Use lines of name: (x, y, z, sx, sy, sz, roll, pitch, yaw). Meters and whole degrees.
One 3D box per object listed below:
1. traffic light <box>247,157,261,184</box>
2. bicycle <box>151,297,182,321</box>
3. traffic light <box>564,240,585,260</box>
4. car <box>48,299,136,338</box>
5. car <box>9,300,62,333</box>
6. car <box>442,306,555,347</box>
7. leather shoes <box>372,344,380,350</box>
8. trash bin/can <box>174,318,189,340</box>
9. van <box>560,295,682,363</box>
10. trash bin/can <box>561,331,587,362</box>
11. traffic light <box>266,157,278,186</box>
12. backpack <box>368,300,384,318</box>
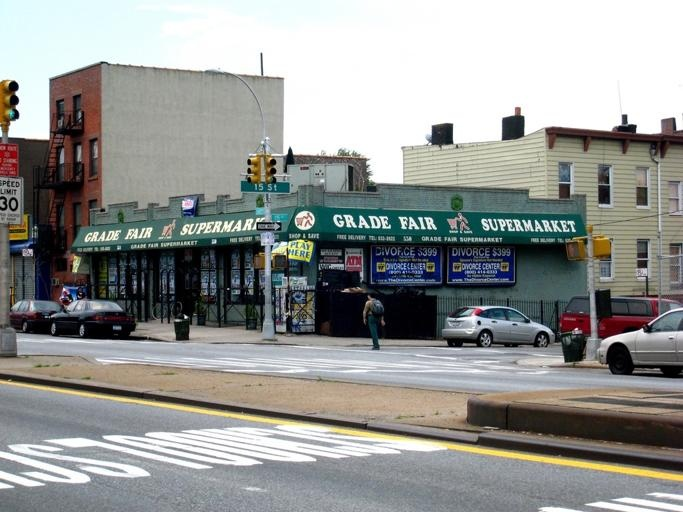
traffic light: (-2.870, -2.876, 34.282, 0.444, 1.102, 1.083, 0, -6, -7)
bicycle: (-7.748, 2.398, 46.356, 1.915, 1.189, 0.966, -3, -5, 42)
traffic light: (6.572, -0.179, 29.136, 0.481, 0.633, 0.576, -5, 0, -24)
car: (-9.291, 2.335, 38.474, 3.132, 1.450, 1.276, -4, -6, 28)
car: (-12.456, 2.433, 41.834, 1.214, 0.862, 2.811, 0, 3, -33)
car: (5.469, 2.524, 36.771, 3.310, 1.157, 1.569, -1, 0, -28)
leather shoes: (1.110, 2.962, 33.357, 0.302, 0.216, 0.104, 4, 1, 14)
trash bin/can: (-5.580, 2.582, 36.442, 0.494, 0.793, 0.484, 0, -6, -15)
van: (9.284, 2.384, 34.976, 4.264, 1.771, 2.163, -5, -4, 18)
trash bin/can: (6.301, 2.470, 28.277, 0.832, 0.951, 0.739, 0, 1, 5)
traffic light: (-2.338, -2.900, 34.275, 0.326, 1.067, 0.857, -1, -5, -4)
backpack: (1.167, 1.716, 33.364, 0.407, 0.588, 0.558, 6, -16, -27)
